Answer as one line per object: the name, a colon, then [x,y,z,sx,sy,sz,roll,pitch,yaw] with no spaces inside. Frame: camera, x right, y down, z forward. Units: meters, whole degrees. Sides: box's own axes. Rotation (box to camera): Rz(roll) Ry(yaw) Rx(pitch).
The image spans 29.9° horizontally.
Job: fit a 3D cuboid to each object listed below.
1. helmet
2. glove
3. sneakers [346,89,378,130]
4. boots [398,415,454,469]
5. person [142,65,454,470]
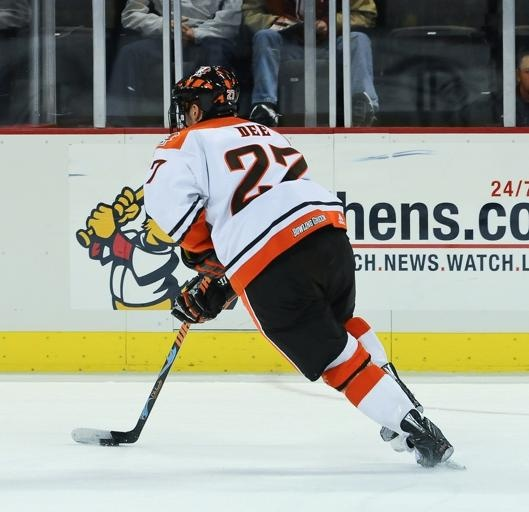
helmet: [-0.237,-0.669,4.035,0.281,0.207,0.223,4,14,33]
glove: [-0.256,0.134,4.034,0.325,0.150,0.237,-36,4,46]
sneakers: [0.570,-0.864,5.616,0.165,0.183,0.069,5,6,10]
boots: [0.594,0.690,3.750,0.155,0.233,0.100,-43,6,-13]
person: [0.113,0.119,3.860,1.135,1.315,0.301,2,10,15]
